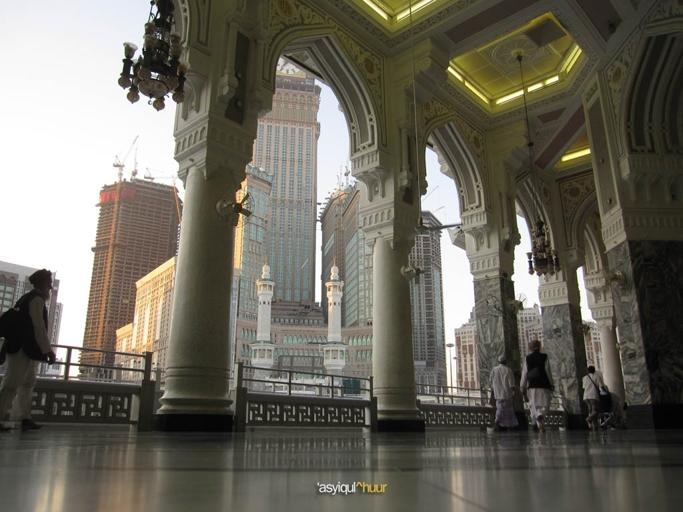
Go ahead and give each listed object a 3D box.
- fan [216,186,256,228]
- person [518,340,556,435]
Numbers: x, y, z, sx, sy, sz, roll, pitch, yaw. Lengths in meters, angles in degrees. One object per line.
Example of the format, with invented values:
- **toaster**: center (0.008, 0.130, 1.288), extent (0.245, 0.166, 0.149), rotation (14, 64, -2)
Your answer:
- **fan**: center (-1.440, -0.633, 6.943), extent (0.431, 0.472, 0.120), rotation (15, -5, -40)
- **person**: center (3.010, 1.961, 8.169), extent (0.461, 1.242, 0.744), rotation (-11, -23, 26)
